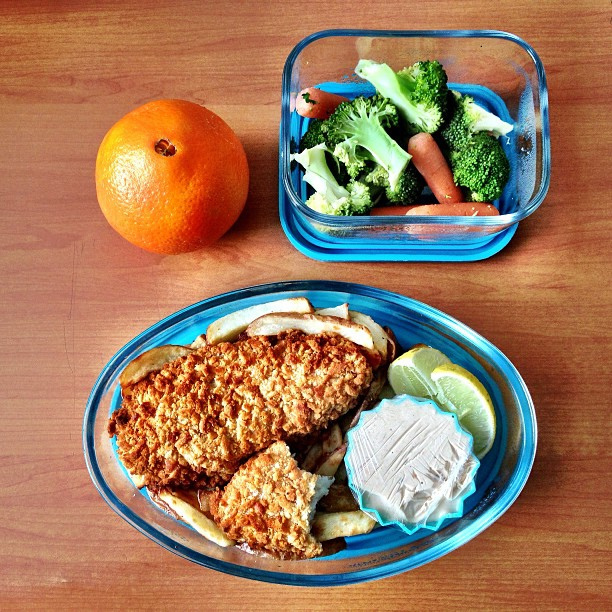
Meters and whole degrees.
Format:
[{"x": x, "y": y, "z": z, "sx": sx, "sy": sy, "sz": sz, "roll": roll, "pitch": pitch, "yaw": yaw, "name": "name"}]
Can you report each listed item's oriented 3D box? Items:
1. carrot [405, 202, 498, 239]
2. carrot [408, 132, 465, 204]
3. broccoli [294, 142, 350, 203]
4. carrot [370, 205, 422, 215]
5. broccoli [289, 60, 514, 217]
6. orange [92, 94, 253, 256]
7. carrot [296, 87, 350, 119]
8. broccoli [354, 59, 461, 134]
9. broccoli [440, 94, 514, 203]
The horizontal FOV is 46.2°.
[{"x": 0.307, "y": -0.178, "z": 1.547, "sx": 0.203, "sy": 0.082, "sz": 0.068, "roll": 0, "pitch": 116, "yaw": 10, "name": "carrot"}, {"x": 0.285, "y": -0.297, "z": 1.617, "sx": 0.066, "sy": 0.065, "sz": 0.218, "roll": -35, "pitch": 101, "yaw": 16, "name": "carrot"}, {"x": 0.053, "y": -0.323, "z": 1.591, "sx": 0.053, "sy": 0.060, "sz": 0.089, "roll": -23, "pitch": 72, "yaw": -22, "name": "broccoli"}, {"x": 0.202, "y": -0.211, "z": 1.627, "sx": 0.130, "sy": 0.034, "sz": 0.034, "roll": 3, "pitch": 95, "yaw": 9, "name": "carrot"}, {"x": 0.208, "y": -0.400, "z": 1.602, "sx": 0.496, "sy": 0.182, "sz": 0.368, "roll": -7, "pitch": 69, "yaw": 0, "name": "broccoli"}, {"x": -0.307, "y": -0.279, "z": 1.617, "sx": 0.354, "sy": 0.250, "sz": 0.322, "roll": -8, "pitch": 98, "yaw": -19, "name": "orange"}, {"x": 0.036, "y": -0.461, "z": 1.614, "sx": 0.127, "sy": 0.051, "sz": 0.054, "roll": 0, "pitch": 96, "yaw": -6, "name": "carrot"}, {"x": 0.252, "y": -0.485, "z": 1.655, "sx": 0.172, "sy": 0.221, "sz": 0.117, "roll": -14, "pitch": 81, "yaw": 15, "name": "broccoli"}, {"x": 0.374, "y": -0.332, "z": 1.570, "sx": 0.170, "sy": 0.069, "sz": 0.223, "roll": -1, "pitch": 95, "yaw": 13, "name": "broccoli"}]
